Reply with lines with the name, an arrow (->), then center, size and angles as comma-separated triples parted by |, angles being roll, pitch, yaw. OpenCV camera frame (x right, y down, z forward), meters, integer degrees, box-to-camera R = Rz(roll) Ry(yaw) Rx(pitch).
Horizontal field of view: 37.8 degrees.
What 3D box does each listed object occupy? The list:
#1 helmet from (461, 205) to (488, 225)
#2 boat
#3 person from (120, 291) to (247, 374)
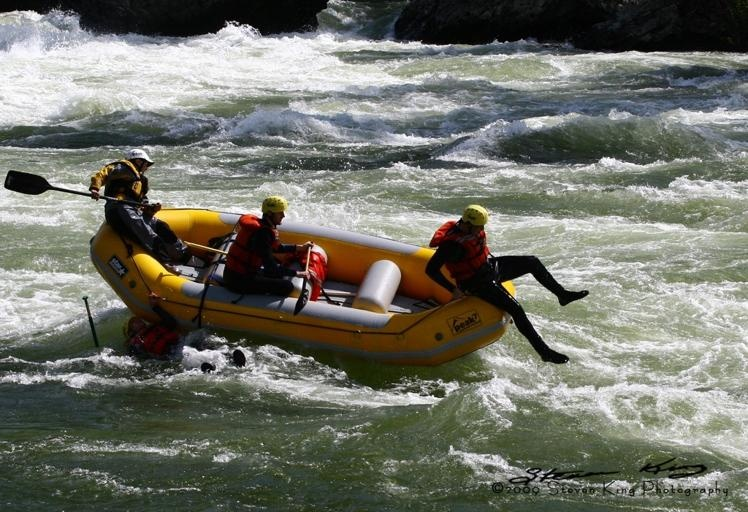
helmet -> 1.582, -0.646, 17.113 | 0.383, 0.301, 0.294 | 10, 13, 1
boat -> -1.233, 0.645, 17.749 | 7.353, 1.040, 2.434 | 4, 29, 4
person -> -3.323, 1.297, 17.548 | 2.692, 0.897, 0.671 | 15, -33, 13
